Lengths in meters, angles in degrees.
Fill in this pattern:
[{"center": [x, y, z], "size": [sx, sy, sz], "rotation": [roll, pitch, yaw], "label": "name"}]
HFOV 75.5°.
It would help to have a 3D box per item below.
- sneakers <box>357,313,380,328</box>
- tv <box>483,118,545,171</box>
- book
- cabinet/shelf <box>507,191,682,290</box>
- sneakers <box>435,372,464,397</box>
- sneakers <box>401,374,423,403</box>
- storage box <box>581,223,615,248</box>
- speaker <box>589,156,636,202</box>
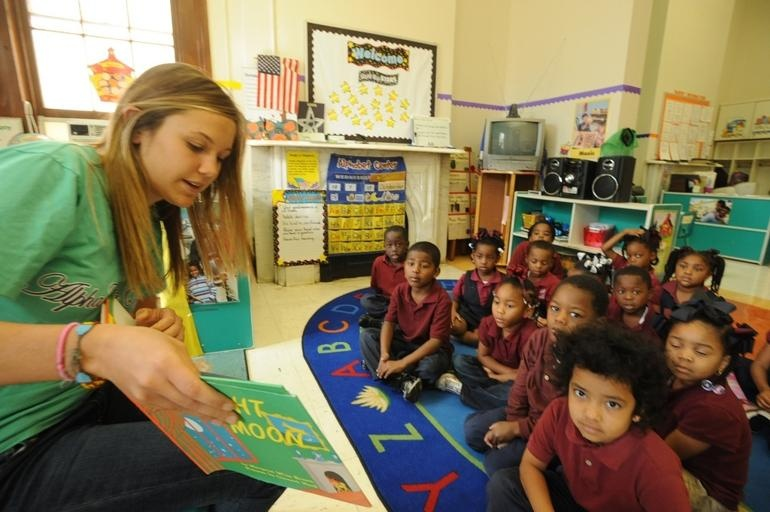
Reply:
[{"center": [-0.085, 0.440, 3.328], "size": [0.194, 0.064, 0.054], "rotation": [0, 36, 11], "label": "sneakers"}, {"center": [1.414, -1.136, 4.958], "size": [0.401, 0.510, 0.690], "rotation": [-14, 21, -41], "label": "tv"}, {"center": [-0.556, 0.540, 1.877], "size": [1.001, 0.988, 0.105], "rotation": [30, 48, -14], "label": "book"}, {"center": [1.615, -0.126, 3.777], "size": [0.356, 0.539, 0.948], "rotation": [-8, 16, -40], "label": "cabinet/shelf"}, {"center": [0.349, 0.694, 2.684], "size": [0.194, 0.104, 0.066], "rotation": [-7, 2, 39], "label": "sneakers"}, {"center": [0.145, 0.666, 2.547], "size": [0.084, 0.145, 0.060], "rotation": [3, 52, -3], "label": "sneakers"}, {"center": [1.791, -0.187, 4.236], "size": [0.259, 0.183, 0.233], "rotation": [-7, 12, -33], "label": "storage box"}, {"center": [1.854, -0.642, 4.116], "size": [0.327, 0.365, 0.196], "rotation": [7, 18, 31], "label": "speaker"}]
